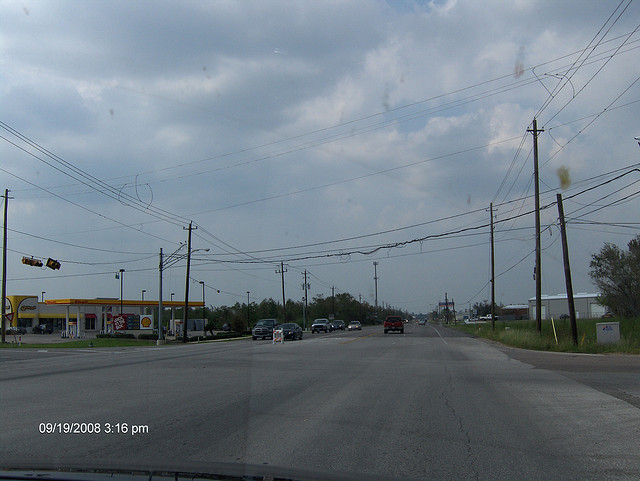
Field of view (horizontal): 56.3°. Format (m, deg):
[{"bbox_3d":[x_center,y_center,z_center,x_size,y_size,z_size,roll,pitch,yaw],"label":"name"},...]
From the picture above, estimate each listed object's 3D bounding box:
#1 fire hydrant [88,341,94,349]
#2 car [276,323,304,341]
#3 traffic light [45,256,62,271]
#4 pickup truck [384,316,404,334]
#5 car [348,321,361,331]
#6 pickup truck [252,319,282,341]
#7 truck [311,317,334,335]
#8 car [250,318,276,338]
[{"bbox_3d":[-17.390,7.948,45.356,0.352,0.379,0.757,-2,-3,-17],"label":"fire hydrant"},{"bbox_3d":[-2.270,7.619,49.664,0.958,0.861,2.488,-3,-18,13],"label":"car"},{"bbox_3d":[-12.654,1.137,28.270,0.755,0.567,0.213,35,-16,-24],"label":"traffic light"},{"bbox_3d":[7.713,8.922,62.747,1.474,1.519,3.426,-1,-12,7],"label":"pickup truck"},{"bbox_3d":[4.739,11.908,83.713,1.493,1.542,3.759,-2,-14,3],"label":"car"},{"bbox_3d":[-4.724,7.792,52.477,1.277,1.203,2.720,-2,-13,7],"label":"pickup truck"},{"bbox_3d":[0.254,10.291,72.038,1.290,1.215,3.202,-3,-18,13],"label":"truck"},{"bbox_3d":[-4.944,7.741,52.451,1.853,1.752,2.467,-1,-14,-2],"label":"car"}]
